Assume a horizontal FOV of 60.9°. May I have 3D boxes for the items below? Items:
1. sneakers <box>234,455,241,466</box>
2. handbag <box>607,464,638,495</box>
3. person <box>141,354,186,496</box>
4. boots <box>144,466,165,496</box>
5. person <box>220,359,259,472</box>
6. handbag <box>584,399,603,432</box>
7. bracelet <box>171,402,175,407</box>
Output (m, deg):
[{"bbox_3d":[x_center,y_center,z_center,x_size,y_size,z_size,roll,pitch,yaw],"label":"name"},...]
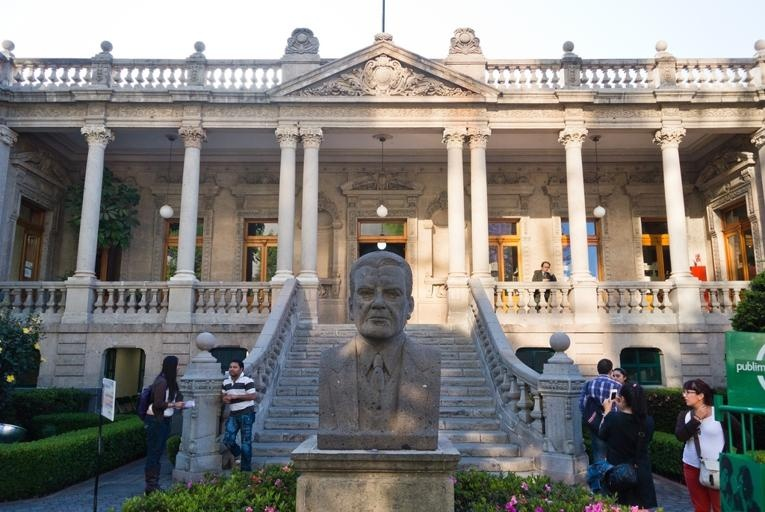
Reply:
[{"bbox_3d":[-3.144,4.376,14.003,0.130,0.214,0.519,2,-11,-19],"label":"sneakers"},{"bbox_3d":[4.024,3.707,10.795,0.496,0.465,0.283,-2,-11,14],"label":"handbag"},{"bbox_3d":[-4.648,3.496,13.627,0.815,2.764,1.290,2,-11,-20],"label":"person"},{"bbox_3d":[-4.743,4.614,13.426,0.256,0.500,0.812,1,-11,-17],"label":"boots"},{"bbox_3d":[-3.109,3.416,13.991,0.687,2.305,0.382,-1,-11,-3],"label":"person"},{"bbox_3d":[4.190,3.122,12.845,0.363,0.641,0.576,5,-11,14],"label":"handbag"},{"bbox_3d":[-4.349,3.091,13.538,0.106,0.104,0.056,-2,-10,11],"label":"bracelet"}]
